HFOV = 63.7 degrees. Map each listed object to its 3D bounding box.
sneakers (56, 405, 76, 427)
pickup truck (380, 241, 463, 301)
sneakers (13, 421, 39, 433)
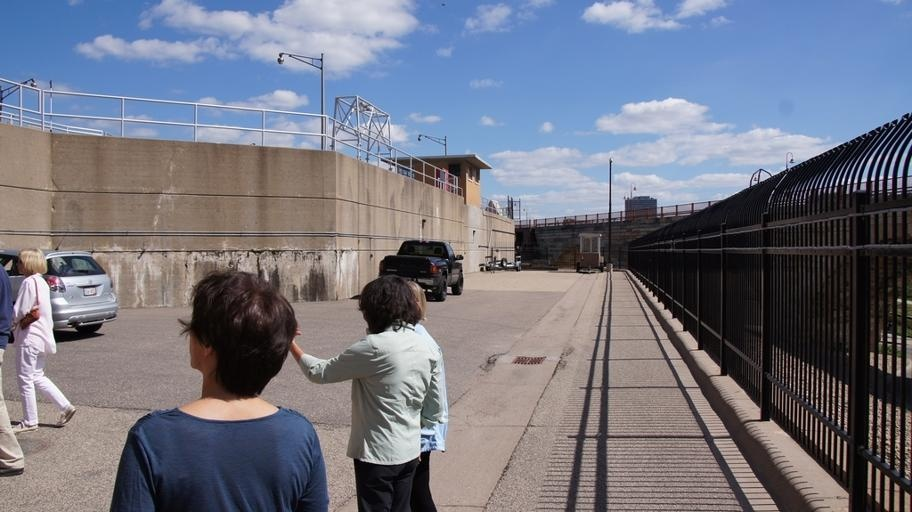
[{"bbox_3d":[-5.800,2.368,10.920,0.138,0.326,0.122,41,24,11],"label":"sneakers"},{"bbox_3d":[-0.876,0.490,25.080,1.591,1.042,3.064,3,2,16],"label":"pickup truck"},{"bbox_3d":[-6.283,2.464,10.709,0.420,0.168,0.161,6,-3,-16],"label":"sneakers"}]
